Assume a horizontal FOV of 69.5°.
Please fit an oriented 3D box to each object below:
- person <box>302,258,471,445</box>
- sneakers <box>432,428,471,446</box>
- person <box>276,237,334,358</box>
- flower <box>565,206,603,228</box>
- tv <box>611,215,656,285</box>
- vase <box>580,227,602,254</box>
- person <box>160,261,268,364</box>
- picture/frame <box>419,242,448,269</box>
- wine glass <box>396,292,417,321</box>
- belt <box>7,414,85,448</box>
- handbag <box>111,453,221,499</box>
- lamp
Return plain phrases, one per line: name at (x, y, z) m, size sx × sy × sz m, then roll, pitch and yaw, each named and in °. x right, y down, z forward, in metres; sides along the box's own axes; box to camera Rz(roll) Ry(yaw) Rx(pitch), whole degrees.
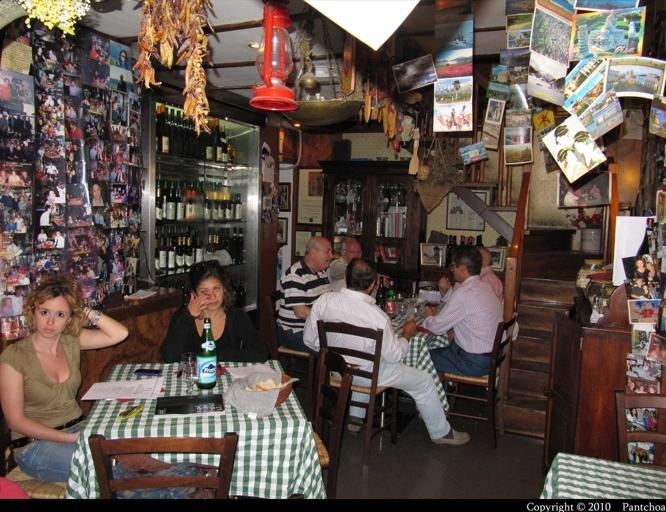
person at (0.505, 0.736, 3.955) m, size 1.162 × 1.531 × 1.092 m, roll -1°, pitch 12°, yaw 11°
sneakers at (0.959, 1.449, 3.855) m, size 0.259 × 0.109 × 0.132 m, roll -2°, pitch 8°, yaw 0°
person at (-0.180, 0.368, 4.530) m, size 0.727 × 1.037 × 0.740 m, roll 4°, pitch 9°, yaw 4°
flower at (3.344, -0.503, 6.417) m, size 0.378 × 0.221 × 0.434 m, roll 1°, pitch -1°, yaw -22°
tv at (1.926, -0.042, 3.006) m, size 0.034 × 0.399 × 0.223 m, roll 4°, pitch -4°, yaw -12°
vase at (3.295, -0.200, 6.115) m, size 0.216 × 0.310 × 0.304 m, roll 4°, pitch 8°, yaw 18°
person at (-0.825, 0.565, 3.273) m, size 0.668 × 0.964 × 0.501 m, roll -3°, pitch 4°, yaw -19°
picture/frame at (1.335, -0.005, 6.376) m, size 0.305 × 0.299 × 0.033 m, roll 3°, pitch 4°, yaw 14°
wine glass at (0.684, 0.491, 4.488) m, size 0.131 × 0.208 × 0.209 m, roll 1°, pitch -2°, yaw 19°
belt at (-1.514, 0.912, 2.523) m, size 0.304 × 0.098 × 0.228 m, roll -11°, pitch -4°, yaw -17°
handbag at (-0.783, 0.931, 2.137) m, size 0.340 × 0.107 × 0.270 m, roll 5°, pitch -5°, yaw 1°
lamp at (-0.243, -0.802, 1.948) m, size 0.186 × 0.413 × 0.257 m, roll 1°, pitch 8°, yaw -7°
